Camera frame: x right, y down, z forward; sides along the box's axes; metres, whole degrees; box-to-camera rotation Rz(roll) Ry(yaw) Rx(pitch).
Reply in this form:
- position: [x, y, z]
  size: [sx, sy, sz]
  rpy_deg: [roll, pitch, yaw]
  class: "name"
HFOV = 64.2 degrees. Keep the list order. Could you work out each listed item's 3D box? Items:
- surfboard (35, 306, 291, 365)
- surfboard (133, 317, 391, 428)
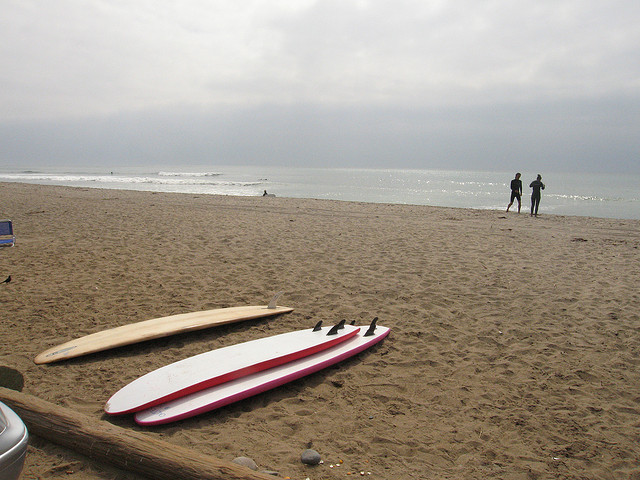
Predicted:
- position: [-1.685, 1.313, 7.877]
  size: [4.761, 0.373, 0.870]
  rpy_deg: [-1, 15, -28]
  class: "surfboard"
- position: [-0.783, 1.801, 6.748]
  size: [3.536, 0.347, 0.469]
  rpy_deg: [-12, 23, -21]
  class: "surfboard"
